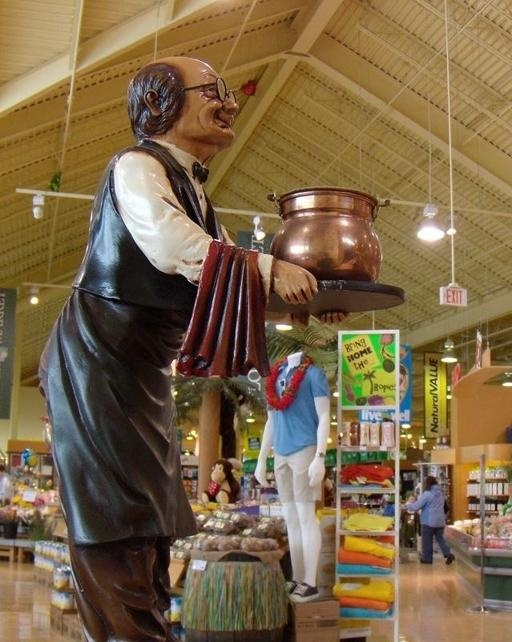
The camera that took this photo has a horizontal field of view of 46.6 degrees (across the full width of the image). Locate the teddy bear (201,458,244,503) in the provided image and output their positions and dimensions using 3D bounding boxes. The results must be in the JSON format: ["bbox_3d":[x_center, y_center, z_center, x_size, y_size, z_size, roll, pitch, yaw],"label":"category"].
[{"bbox_3d":[-0.353,1.652,6.024,0.373,0.466,0.342,-4,-20,25],"label":"teddy bear"}]

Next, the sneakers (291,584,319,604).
[{"bbox_3d":[0.266,1.512,3.295,0.186,0.065,0.064,21,-31,-34],"label":"sneakers"}]

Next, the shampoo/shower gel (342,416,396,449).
[{"bbox_3d":[0.740,0.752,3.938,0.395,0.197,0.069,1,-10,-11],"label":"shampoo/shower gel"}]

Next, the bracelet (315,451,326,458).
[{"bbox_3d":[0.351,0.738,3.290,0.050,0.040,0.015,-3,-4,4],"label":"bracelet"}]

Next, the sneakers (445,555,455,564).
[{"bbox_3d":[3.123,3.860,9.577,0.096,0.107,0.269,-4,-48,9],"label":"sneakers"}]

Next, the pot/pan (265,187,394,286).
[{"bbox_3d":[0.148,-0.179,1.276,0.267,0.159,0.225,1,5,-6],"label":"pot/pan"}]

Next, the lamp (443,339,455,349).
[{"bbox_3d":[5.495,0.640,17.005,0.267,0.258,0.246,18,-32,-19],"label":"lamp"}]
